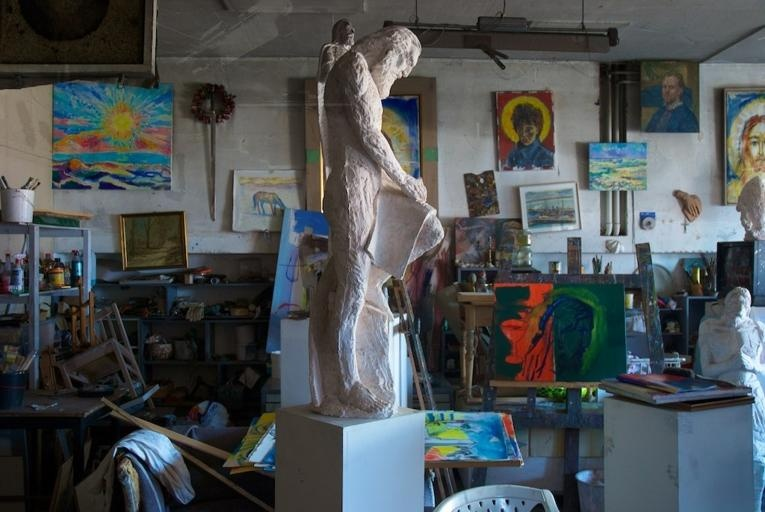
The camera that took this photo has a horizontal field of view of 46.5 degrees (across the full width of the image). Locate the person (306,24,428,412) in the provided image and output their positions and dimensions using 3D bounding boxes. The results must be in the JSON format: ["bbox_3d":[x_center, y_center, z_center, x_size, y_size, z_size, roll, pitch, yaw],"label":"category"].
[{"bbox_3d":[-0.115,-0.302,6.391,0.834,2.862,0.256,-1,-1,-6],"label":"person"}]

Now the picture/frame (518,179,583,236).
[{"bbox_3d":[1.877,-0.568,10.098,0.629,0.555,0.083,-2,-6,-5],"label":"picture/frame"}]

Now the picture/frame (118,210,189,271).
[{"bbox_3d":[-2.503,-0.207,9.709,0.625,0.584,0.043,-1,4,-7],"label":"picture/frame"}]

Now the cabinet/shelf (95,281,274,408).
[{"bbox_3d":[-2.096,0.967,9.419,1.262,1.151,0.343,-1,-5,-3],"label":"cabinet/shelf"}]

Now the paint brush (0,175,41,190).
[{"bbox_3d":[-3.424,-0.715,8.404,0.423,0.122,0.168,1,18,-19],"label":"paint brush"}]

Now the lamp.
[{"bbox_3d":[1.244,-2.078,8.309,2.384,0.619,0.958,-1,18,-15],"label":"lamp"}]

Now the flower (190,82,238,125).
[{"bbox_3d":[-1.312,-1.242,6.971,0.337,0.113,0.367,4,-18,-16],"label":"flower"}]

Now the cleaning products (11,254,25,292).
[{"bbox_3d":[-3.283,0.148,8.010,0.104,0.349,0.212,0,-2,-21],"label":"cleaning products"}]
